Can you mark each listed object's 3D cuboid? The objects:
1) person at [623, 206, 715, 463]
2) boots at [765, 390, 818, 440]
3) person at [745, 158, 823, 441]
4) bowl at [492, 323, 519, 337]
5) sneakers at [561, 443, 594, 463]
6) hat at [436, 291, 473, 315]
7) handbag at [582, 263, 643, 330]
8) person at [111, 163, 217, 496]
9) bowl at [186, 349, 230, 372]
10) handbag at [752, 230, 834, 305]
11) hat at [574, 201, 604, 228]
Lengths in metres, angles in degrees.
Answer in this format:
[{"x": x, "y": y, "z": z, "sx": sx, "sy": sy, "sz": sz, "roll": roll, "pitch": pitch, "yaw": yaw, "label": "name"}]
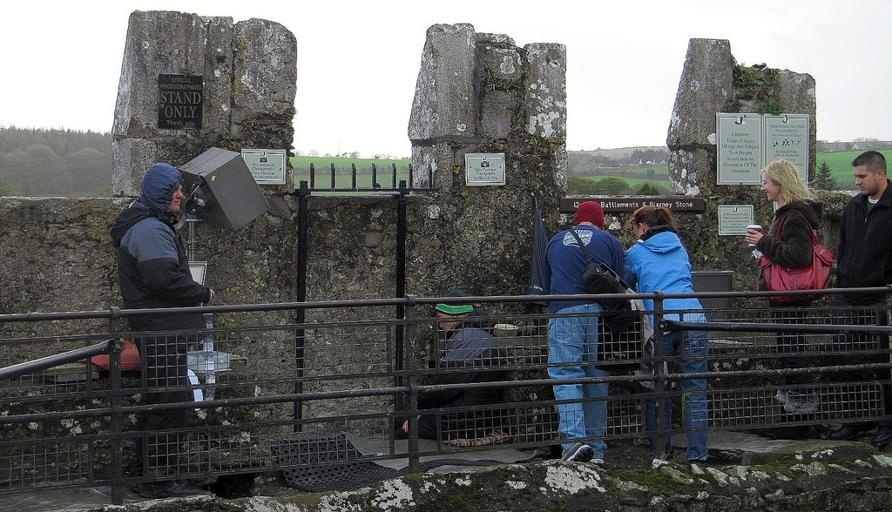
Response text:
[{"x": 2.628, "y": 0.907, "z": 16.230, "sx": 0.926, "sy": 2.980, "sz": 1.188, "roll": -1, "pitch": 1, "yaw": -1, "label": "person"}, {"x": 4.108, "y": 1.870, "z": 16.504, "sx": 0.625, "sy": 0.647, "sz": 0.824, "roll": -1, "pitch": 0, "yaw": 12, "label": "boots"}, {"x": 4.088, "y": 0.529, "z": 16.500, "sx": 0.924, "sy": 3.322, "sz": 1.017, "roll": -1, "pitch": 1, "yaw": 9, "label": "person"}, {"x": 0.702, "y": 0.887, "z": 16.684, "sx": 0.233, "sy": 0.082, "sz": 0.252, "roll": 1, "pitch": 4, "yaw": 0, "label": "bowl"}, {"x": 1.506, "y": 2.245, "z": 15.847, "sx": 0.365, "sy": 0.206, "sz": 0.285, "roll": -1, "pitch": 0, "yaw": 2, "label": "sneakers"}, {"x": 0.107, "y": 0.595, "z": 16.950, "sx": 0.423, "sy": 0.217, "sz": 0.269, "roll": 3, "pitch": -3, "yaw": 0, "label": "hat"}, {"x": 1.896, "y": 0.464, "z": 16.103, "sx": 0.351, "sy": 0.847, "sz": 0.517, "roll": -29, "pitch": -19, "yaw": -35, "label": "handbag"}, {"x": -3.205, "y": 0.806, "z": 15.475, "sx": 0.945, "sy": 2.493, "sz": 1.220, "roll": -1, "pitch": 1, "yaw": -16, "label": "person"}, {"x": -2.618, "y": 1.158, "z": 15.326, "sx": 0.526, "sy": 0.157, "sz": 0.258, "roll": -1, "pitch": 0, "yaw": -21, "label": "bowl"}, {"x": 4.240, "y": 0.166, "z": 16.659, "sx": 0.986, "sy": 0.781, "sz": 0.834, "roll": -7, "pitch": 0, "yaw": 10, "label": "handbag"}, {"x": 1.718, "y": -0.507, "z": 16.734, "sx": 0.296, "sy": 0.268, "sz": 0.369, "roll": 2, "pitch": 1, "yaw": 16, "label": "hat"}]
